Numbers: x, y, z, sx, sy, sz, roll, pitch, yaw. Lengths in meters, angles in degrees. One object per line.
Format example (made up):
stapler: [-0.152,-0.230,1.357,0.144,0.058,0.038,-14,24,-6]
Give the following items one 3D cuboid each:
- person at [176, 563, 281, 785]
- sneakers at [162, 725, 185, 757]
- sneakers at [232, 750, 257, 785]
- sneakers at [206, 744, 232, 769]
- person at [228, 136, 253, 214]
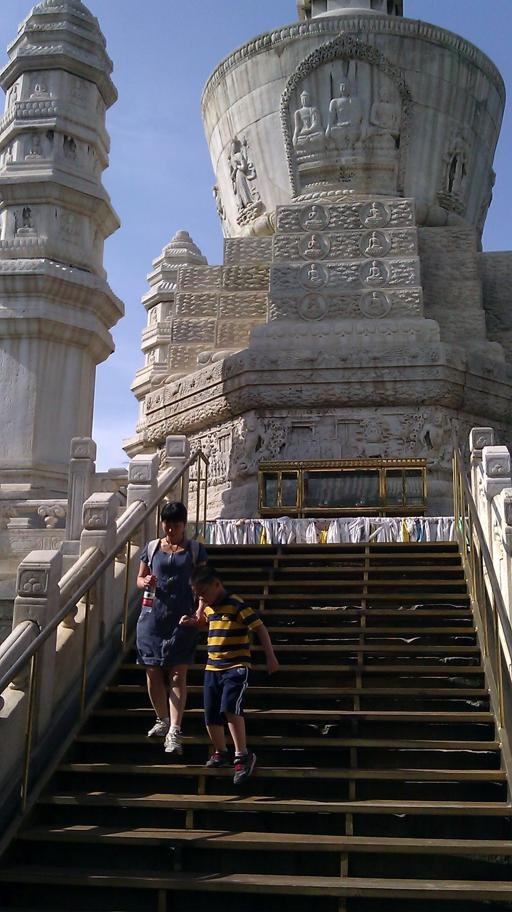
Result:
person: [-0.157,1.133,3.826,0.499,1.106,0.315,1,-8,3]
sneakers: [-0.437,1.523,3.985,0.080,0.101,0.218,12,-20,-1]
sneakers: [-0.064,1.580,3.754,0.104,0.215,0.254,2,-8,-1]
sneakers: [-0.194,1.546,3.820,0.120,0.103,0.093,2,-8,-5]
person: [-0.372,-6.868,18.116,0.385,1.845,0.895,5,-9,-24]
